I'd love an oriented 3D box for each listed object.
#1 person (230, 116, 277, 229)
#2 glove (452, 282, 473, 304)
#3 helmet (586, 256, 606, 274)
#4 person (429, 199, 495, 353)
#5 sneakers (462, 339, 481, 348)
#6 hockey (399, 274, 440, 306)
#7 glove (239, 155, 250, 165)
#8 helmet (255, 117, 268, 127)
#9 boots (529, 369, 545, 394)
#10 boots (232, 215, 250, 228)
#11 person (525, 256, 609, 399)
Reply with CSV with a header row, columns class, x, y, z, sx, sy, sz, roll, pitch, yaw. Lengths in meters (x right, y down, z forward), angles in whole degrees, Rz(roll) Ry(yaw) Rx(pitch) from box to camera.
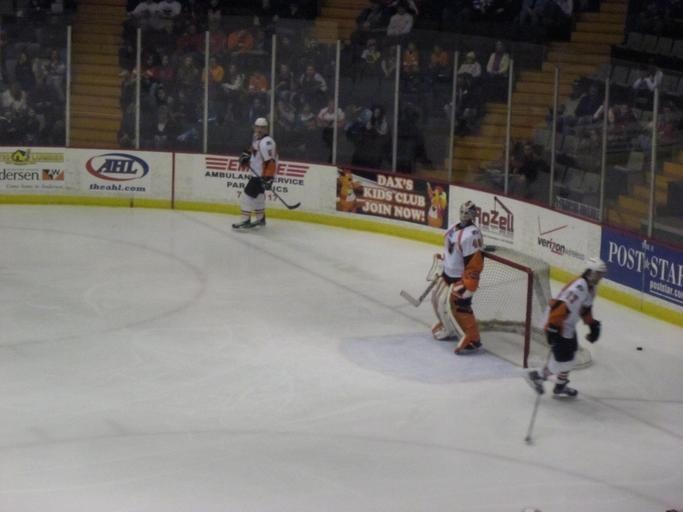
class,x,y,z,sx,sy,sz,roll,pitch,yaw
person,-1.574,-1.543,14.952,0.694,2.042,0.619,1,12,-10
glove,1.416,0.425,9.530,0.238,0.198,0.177,-18,23,-11
helmet,2.658,0.105,8.253,0.229,0.199,0.168,-3,15,7
person,1.479,0.250,9.679,0.442,1.762,0.671,-1,13,-20
sneakers,1.582,1.066,9.566,0.140,0.070,0.103,-18,3,24
hockey,0.977,0.388,10.336,0.126,0.449,0.453,38,4,17
glove,-1.807,-1.815,14.930,0.175,0.212,0.134,1,12,-8
helmet,-1.495,-2.525,14.871,0.231,0.271,0.289,0,-1,-7
boots,1.978,1.283,8.057,0.147,0.083,0.224,-12,45,-2
boots,-1.856,-0.638,14.900,0.367,0.250,0.221,-1,12,-17
person,2.540,0.864,8.985,0.807,1.652,0.702,5,35,10
